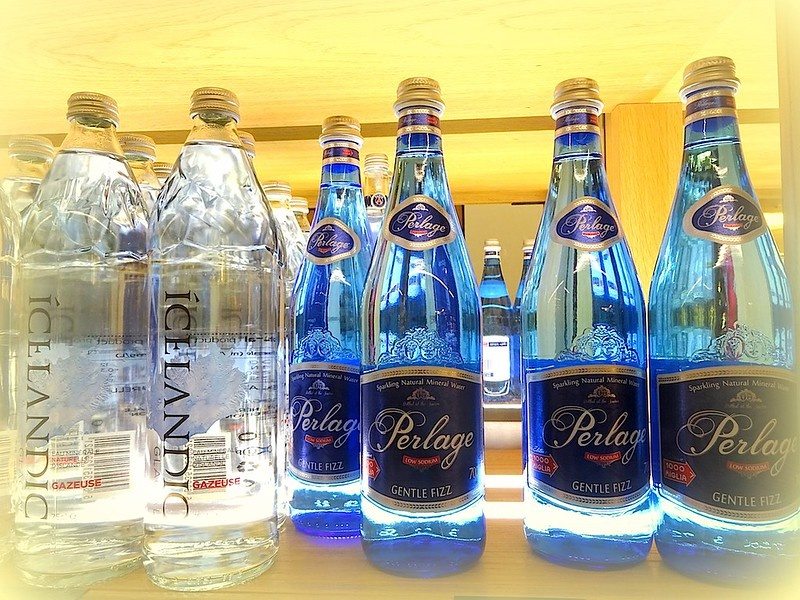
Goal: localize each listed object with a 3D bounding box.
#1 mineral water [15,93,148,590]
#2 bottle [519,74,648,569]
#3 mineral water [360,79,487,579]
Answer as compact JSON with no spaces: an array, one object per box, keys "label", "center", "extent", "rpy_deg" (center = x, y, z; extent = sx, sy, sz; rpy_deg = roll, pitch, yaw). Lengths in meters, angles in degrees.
[{"label":"mineral water","center":[-0.371,0.050,0.889],"extent":[0.149,0.591,0.083],"rpy_deg":[-2,0,-16]},{"label":"bottle","center":[0.223,0.020,0.938],"extent":[0.152,0.541,0.152],"rpy_deg":[-2,0,0]},{"label":"mineral water","center":[0.023,0.019,0.941],"extent":[0.154,0.577,0.162],"rpy_deg":[-2,0,5]}]
